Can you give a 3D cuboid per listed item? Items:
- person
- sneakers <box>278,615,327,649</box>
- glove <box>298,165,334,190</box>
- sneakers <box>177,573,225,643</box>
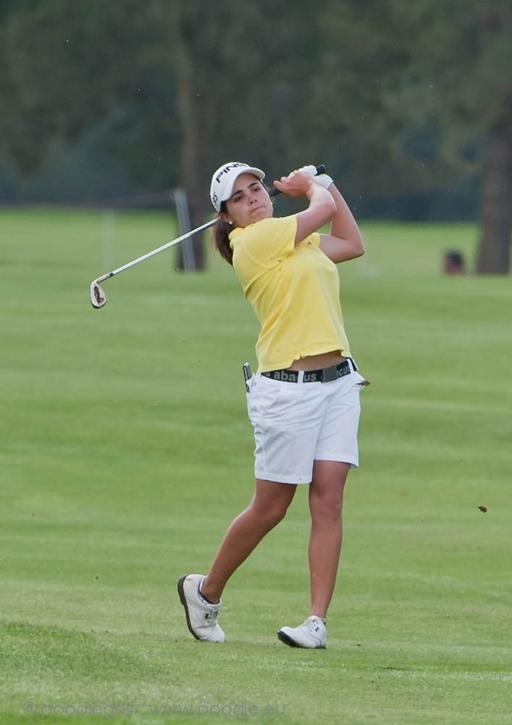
[{"bbox_3d":[0.064,0.128,4.252,0.594,1.586,0.678,1,9,8],"label":"person"},{"bbox_3d":[0.154,0.856,4.046,0.210,0.089,0.070,13,14,-27],"label":"sneakers"},{"bbox_3d":[0.198,-0.651,4.445,0.106,0.096,0.041,-7,36,29],"label":"glove"},{"bbox_3d":[-0.168,0.804,4.262,0.134,0.242,0.105,-17,1,25],"label":"sneakers"}]
